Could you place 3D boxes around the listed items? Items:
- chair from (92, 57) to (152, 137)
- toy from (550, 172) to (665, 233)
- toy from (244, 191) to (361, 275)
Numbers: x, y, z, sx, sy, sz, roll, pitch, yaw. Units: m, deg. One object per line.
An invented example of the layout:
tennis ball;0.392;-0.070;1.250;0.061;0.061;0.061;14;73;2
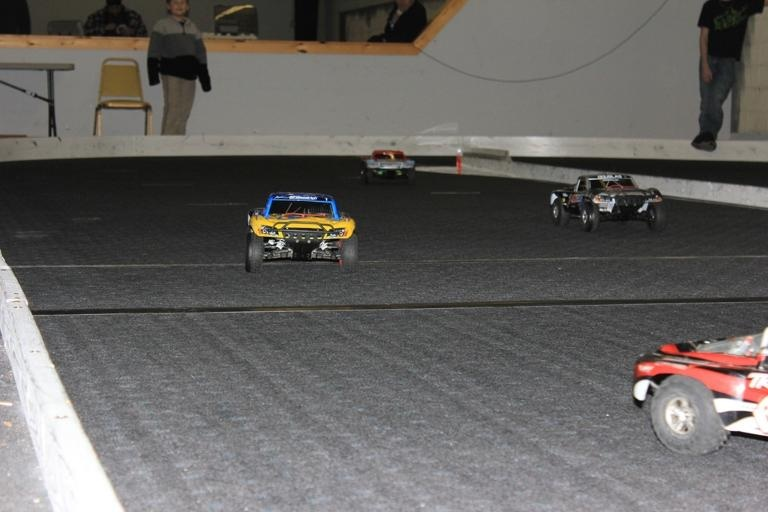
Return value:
chair;-5.614;-3.313;15.169;1.132;1.629;1.981;-4;15;-21
toy;2.785;-0.646;9.060;1.097;0.620;1.002;-1;14;-7
toy;-0.851;-0.256;7.114;1.062;0.649;1.135;-1;14;-11
